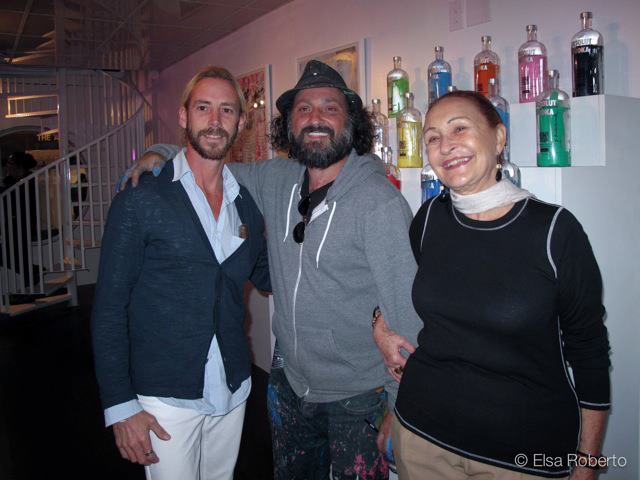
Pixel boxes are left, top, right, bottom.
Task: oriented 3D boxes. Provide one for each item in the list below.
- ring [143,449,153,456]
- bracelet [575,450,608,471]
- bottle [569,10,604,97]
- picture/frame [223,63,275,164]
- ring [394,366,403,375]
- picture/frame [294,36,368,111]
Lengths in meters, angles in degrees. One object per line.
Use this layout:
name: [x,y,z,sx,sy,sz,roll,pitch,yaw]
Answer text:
ring: [-0.622,0.774,1.859,0.025,0.011,0.020,9,-15,-34]
bracelet: [0.859,0.692,1.604,0.070,0.027,0.071,1,-4,27]
bottle: [1.298,-0.870,2.472,0.134,0.318,0.150,1,13,23]
picture/frame: [-0.745,-1.331,5.601,0.036,0.981,1.013,-4,10,-23]
ring: [0.283,0.465,1.841,0.008,0.025,0.034,-22,0,-39]
picture/frame: [0.128,-1.424,4.238,0.563,0.383,0.026,11,29,38]
